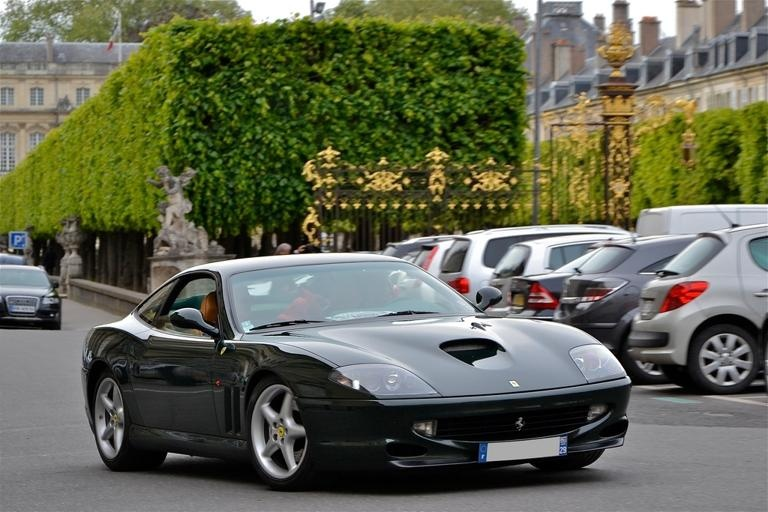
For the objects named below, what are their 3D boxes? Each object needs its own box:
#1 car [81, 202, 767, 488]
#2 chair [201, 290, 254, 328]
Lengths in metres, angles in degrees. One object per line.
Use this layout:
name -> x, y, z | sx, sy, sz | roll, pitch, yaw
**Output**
car -> -0.423, 1.099, 11.993 | 4.632, 2.083, 2.097 | 4, 17, 31
chair -> -1.555, 0.478, 12.440 | 0.490, 0.324, 0.413 | -1, -2, 12
